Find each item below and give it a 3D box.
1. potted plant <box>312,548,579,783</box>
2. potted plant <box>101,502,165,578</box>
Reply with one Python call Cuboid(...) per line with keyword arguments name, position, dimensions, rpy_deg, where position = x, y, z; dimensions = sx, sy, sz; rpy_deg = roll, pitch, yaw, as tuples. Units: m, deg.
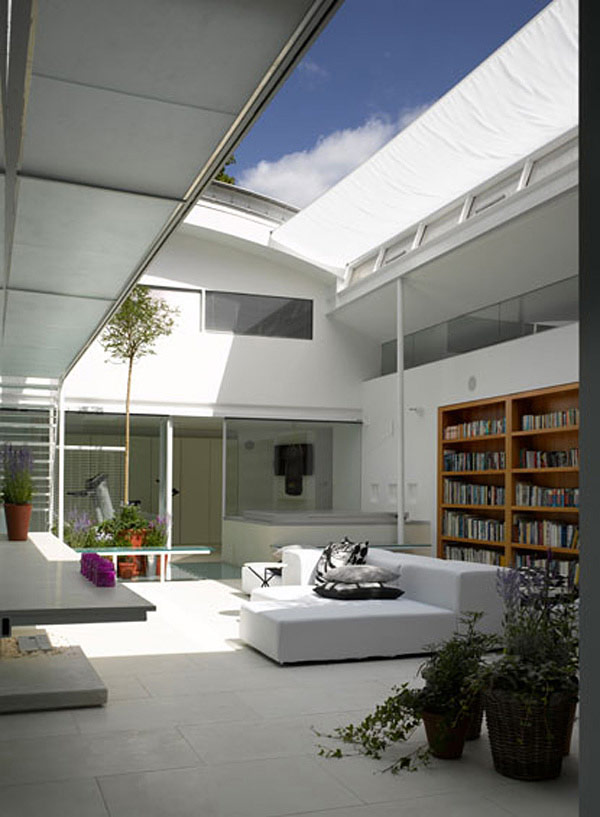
Cuboid(name="potted plant", position=(0.903, 1.175, 3.209), dimensions=(1.237, 0.928, 1.011), rpy_deg=(-1, -2, -6))
Cuboid(name="potted plant", position=(-2.710, 2.137, 10.416), dimensions=(0.968, 1.276, 1.079), rpy_deg=(1, -8, -11))
